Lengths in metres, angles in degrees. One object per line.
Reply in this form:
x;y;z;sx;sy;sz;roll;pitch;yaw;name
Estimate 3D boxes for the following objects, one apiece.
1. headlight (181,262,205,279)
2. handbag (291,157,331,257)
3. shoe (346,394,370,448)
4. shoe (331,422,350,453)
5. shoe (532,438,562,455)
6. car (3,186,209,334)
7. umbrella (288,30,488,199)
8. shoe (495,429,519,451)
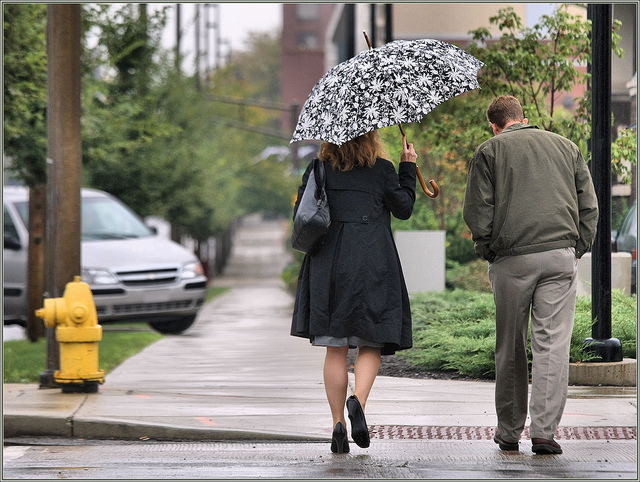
-1.709;0.383;16.203;0.217;0.146;0.215;-4;2;1;headlight
-0.038;-0.302;10.748;0.330;0.886;0.437;2;6;28;handbag
0.361;1.554;10.462;0.159;0.454;0.221;-9;19;18;shoe
0.194;1.744;10.744;0.164;0.296;0.185;0;5;0;shoe
1.992;1.782;10.511;0.283;0.138;0.107;0;2;-26;shoe
-3.093;0.254;16.592;1.608;1.374;2.859;0;-4;-40;car
0.972;-1.110;11.367;1.808;1.512;1.758;2;24;18;umbrella
1.687;1.792;10.788;0.099;0.132;0.271;-1;1;-6;shoe
